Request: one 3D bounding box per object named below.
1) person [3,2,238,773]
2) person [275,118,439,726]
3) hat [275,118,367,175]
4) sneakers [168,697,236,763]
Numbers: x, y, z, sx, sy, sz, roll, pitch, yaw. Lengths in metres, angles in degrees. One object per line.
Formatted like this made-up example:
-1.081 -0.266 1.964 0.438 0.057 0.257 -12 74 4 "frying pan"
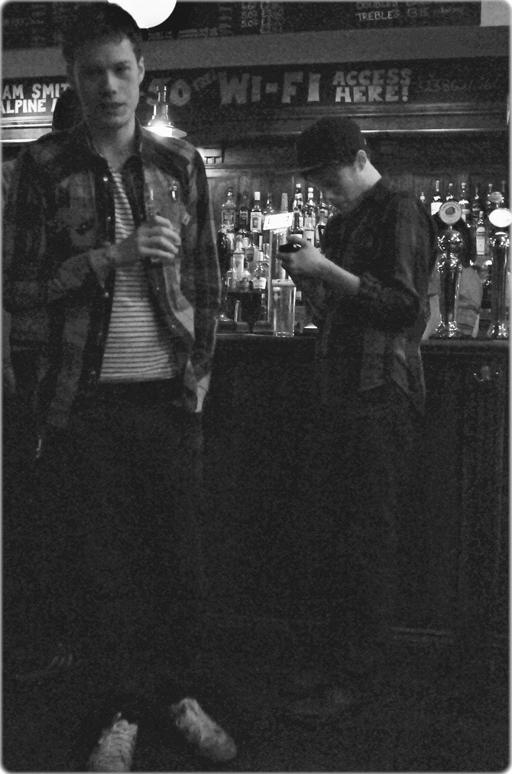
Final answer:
-0.356 -0.061 1.801 0.531 1.571 0.175 4 6 12 "person"
0.202 0.073 1.754 0.324 1.287 0.152 2 6 2 "person"
0.152 -0.531 1.826 0.210 0.122 0.171 -12 10 0 "hat"
-0.119 0.740 1.795 0.150 0.098 0.052 46 15 10 "sneakers"
